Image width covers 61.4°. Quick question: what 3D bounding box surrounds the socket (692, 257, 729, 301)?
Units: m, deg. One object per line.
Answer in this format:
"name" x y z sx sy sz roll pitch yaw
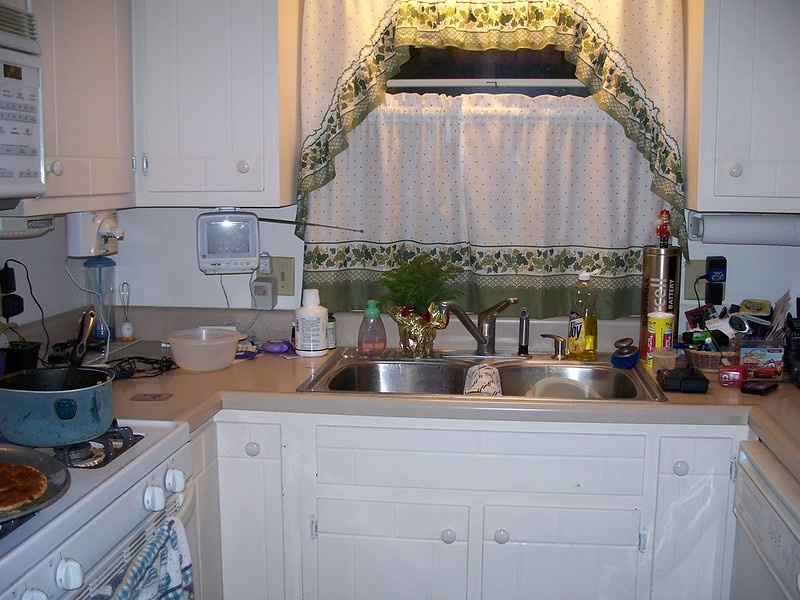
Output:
"socket" 1.215 -0.075 2.647 0.106 0.204 0.046 -9 29 4

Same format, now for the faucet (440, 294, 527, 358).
"faucet" 0.285 0.106 2.518 0.246 0.257 0.176 -2 16 -12

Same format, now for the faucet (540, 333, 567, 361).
"faucet" 0.602 0.175 2.602 0.107 0.098 0.062 4 7 22

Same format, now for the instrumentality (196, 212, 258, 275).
"instrumentality" -0.671 -0.253 2.615 0.234 0.262 0.143 -4 27 -18

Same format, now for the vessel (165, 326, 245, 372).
"vessel" -0.719 0.182 2.493 0.262 0.135 0.226 -2 6 -13
